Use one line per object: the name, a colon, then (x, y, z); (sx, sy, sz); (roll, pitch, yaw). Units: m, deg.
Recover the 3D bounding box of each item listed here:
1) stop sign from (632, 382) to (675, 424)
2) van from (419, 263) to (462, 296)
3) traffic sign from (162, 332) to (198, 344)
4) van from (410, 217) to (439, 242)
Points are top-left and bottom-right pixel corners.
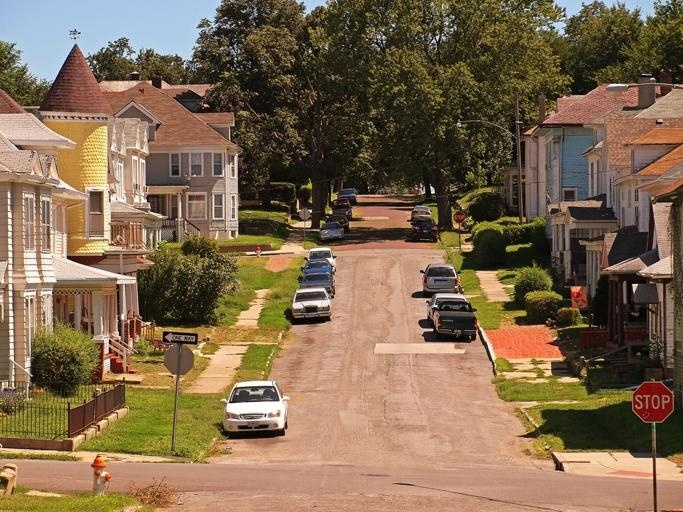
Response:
stop sign: (9.642, 4.544, 42.188); (1.174, 1.005, 0.327); (-1, -1, -3)
van: (5.523, 1.307, 75.145); (1.926, 1.203, 2.732); (-1, -1, -2)
traffic sign: (-5.783, 2.968, 49.438); (1.153, 0.427, 1.592); (-1, -1, -3)
van: (5.996, -1.820, 97.704); (1.729, 1.252, 3.718); (0, 7, 4)
